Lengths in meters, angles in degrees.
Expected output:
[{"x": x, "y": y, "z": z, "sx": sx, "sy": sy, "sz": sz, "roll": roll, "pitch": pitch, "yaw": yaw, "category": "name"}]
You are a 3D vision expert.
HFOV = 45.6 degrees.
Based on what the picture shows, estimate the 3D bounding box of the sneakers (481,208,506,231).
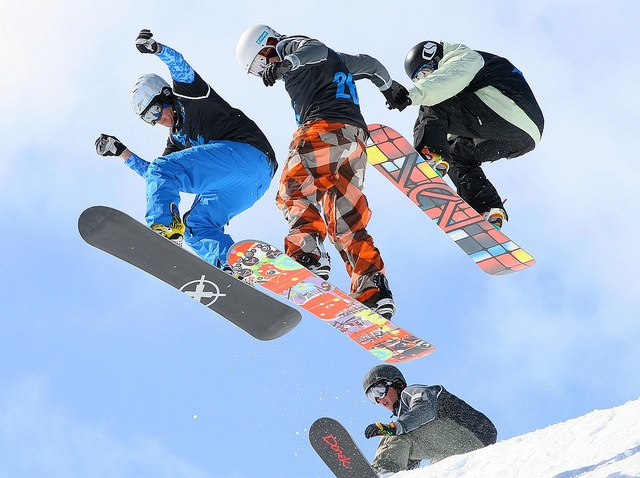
[{"x": 1.845, "y": -0.196, "z": 8.126, "sx": 0.158, "sy": 0.340, "sz": 0.115, "roll": -32, "pitch": -42, "yaw": -47, "category": "sneakers"}]

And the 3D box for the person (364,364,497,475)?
[{"x": 0.997, "y": 1.808, "z": 7.853, "sx": 1.286, "sy": 0.899, "sz": 0.626, "roll": -28, "pitch": -16, "yaw": -5, "category": "person"}]

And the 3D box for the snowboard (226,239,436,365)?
[{"x": -0.079, "y": 0.431, "z": 6.421, "sx": 0.348, "sy": 1.493, "sz": 0.216, "roll": -51, "pitch": 8, "yaw": 29, "category": "snowboard"}]

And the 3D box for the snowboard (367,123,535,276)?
[{"x": 1.407, "y": -0.538, "z": 8.074, "sx": 0.609, "sy": 2.075, "sz": 0.308, "roll": -47, "pitch": -6, "yaw": 10, "category": "snowboard"}]

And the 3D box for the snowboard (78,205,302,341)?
[{"x": -0.919, "y": 0.226, "z": 6.382, "sx": 0.414, "sy": 1.565, "sz": 0.278, "roll": -54, "pitch": 5, "yaw": 10, "category": "snowboard"}]
